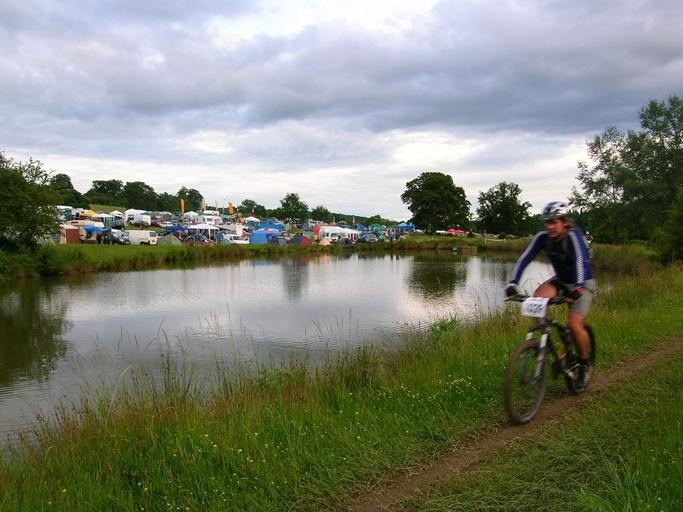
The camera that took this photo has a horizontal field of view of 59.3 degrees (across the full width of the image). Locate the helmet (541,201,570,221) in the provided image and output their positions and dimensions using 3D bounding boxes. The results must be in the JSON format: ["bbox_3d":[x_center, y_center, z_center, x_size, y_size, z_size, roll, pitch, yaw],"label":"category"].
[{"bbox_3d":[3.281,-0.678,9.175,0.364,0.266,0.214,-4,7,11],"label":"helmet"}]

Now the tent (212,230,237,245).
[{"bbox_3d":[-12.012,-1.989,62.497,2.236,1.407,3.763,-1,3,-17],"label":"tent"}]

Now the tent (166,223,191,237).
[{"bbox_3d":[-19.492,-3.109,71.880,2.580,1.190,2.731,5,8,25],"label":"tent"}]

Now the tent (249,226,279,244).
[{"bbox_3d":[-8.166,-2.107,62.465,2.067,1.030,2.171,2,10,18],"label":"tent"}]
